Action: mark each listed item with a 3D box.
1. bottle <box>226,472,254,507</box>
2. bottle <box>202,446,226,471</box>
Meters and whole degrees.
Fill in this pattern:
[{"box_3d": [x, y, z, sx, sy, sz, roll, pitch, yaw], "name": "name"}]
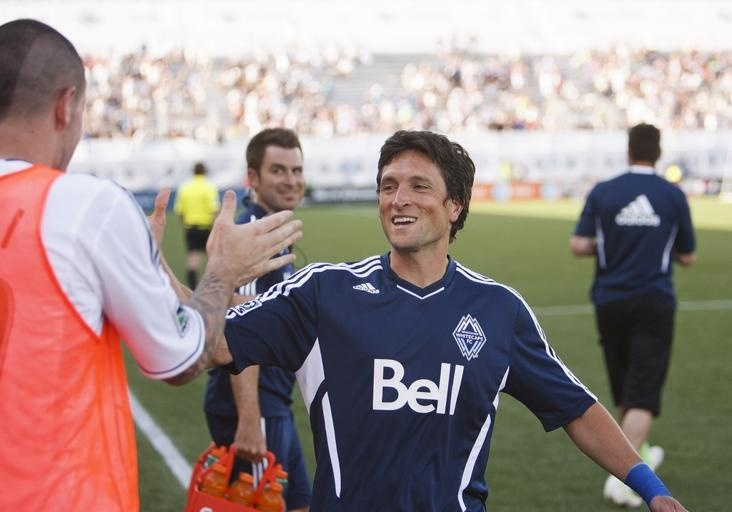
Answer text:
[{"box_3d": [-0.750, 1.400, 6.135, 0.121, 0.207, 0.121, 18, -10, 3], "name": "bottle"}, {"box_3d": [-0.913, 1.228, 6.204, 0.065, 0.130, 0.068, 29, -1, 1], "name": "bottle"}]
